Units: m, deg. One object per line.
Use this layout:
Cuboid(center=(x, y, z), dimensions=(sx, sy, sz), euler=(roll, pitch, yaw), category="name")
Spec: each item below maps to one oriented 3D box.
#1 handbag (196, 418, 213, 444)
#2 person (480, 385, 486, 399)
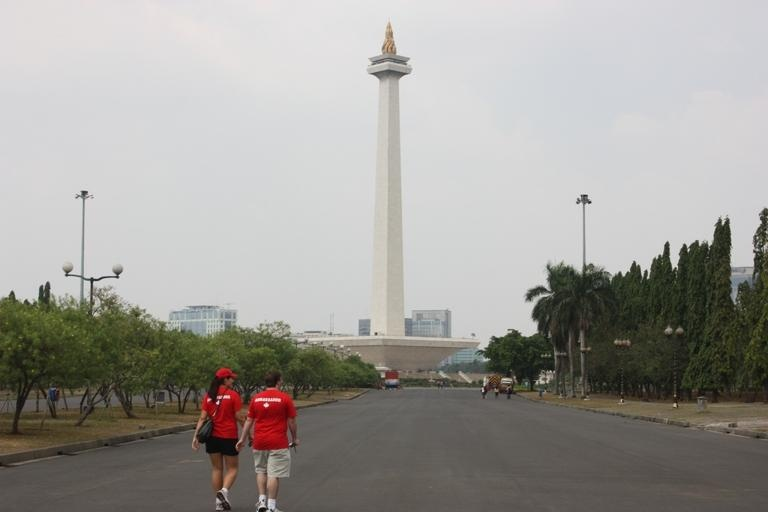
Cuboid(center=(-6.238, 6.050, 42.009), dimensions=(0.520, 0.856, 0.201), euler=(-1, -8, 12), category="handbag")
Cuboid(center=(8.886, 12.178, 108.115), dimensions=(0.396, 1.497, 0.797), euler=(-5, -19, 12), category="person")
